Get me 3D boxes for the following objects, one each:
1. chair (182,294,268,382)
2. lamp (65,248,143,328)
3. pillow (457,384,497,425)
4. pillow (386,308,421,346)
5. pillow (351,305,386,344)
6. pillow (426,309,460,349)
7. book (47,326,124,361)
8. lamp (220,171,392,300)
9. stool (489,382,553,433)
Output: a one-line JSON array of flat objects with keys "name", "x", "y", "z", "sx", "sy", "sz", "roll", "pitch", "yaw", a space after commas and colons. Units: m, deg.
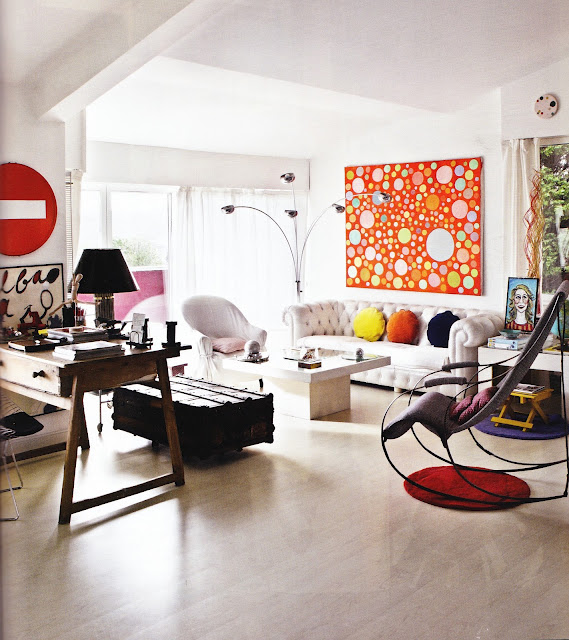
[{"name": "chair", "x": -0.760, "y": 0.154, "z": 5.924, "sx": 0.895, "sy": 1.017, "sz": 0.955, "roll": -4, "pitch": 5, "yaw": -38}, {"name": "lamp", "x": -1.358, "y": -0.262, "z": 3.836, "sx": 0.470, "sy": 0.542, "sz": 0.501, "roll": -2, "pitch": 4, "yaw": -9}, {"name": "pillow", "x": 1.126, "y": 0.504, "z": 3.080, "sx": 0.243, "sy": 0.190, "sz": 0.393, "roll": 1, "pitch": 4, "yaw": 25}, {"name": "pillow", "x": 1.408, "y": 0.127, "z": 5.943, "sx": 0.385, "sy": 0.454, "sz": 0.376, "roll": -9, "pitch": -18, "yaw": 18}, {"name": "pillow", "x": 0.992, "y": 0.054, "z": 6.045, "sx": 0.401, "sy": 0.375, "sz": 0.111, "roll": -12, "pitch": -17, "yaw": 40}, {"name": "pillow", "x": 1.637, "y": 0.095, "z": 5.440, "sx": 0.084, "sy": 0.343, "sz": 0.352, "roll": 20, "pitch": -25, "yaw": -41}, {"name": "book", "x": -1.135, "y": 0.134, "z": 2.957, "sx": 0.269, "sy": 0.076, "sz": 0.260, "roll": -7, "pitch": 11, "yaw": -45}, {"name": "lamp", "x": 0.308, "y": -1.131, "z": 6.779, "sx": 1.017, "sy": 1.792, "sz": 1.828, "roll": -4, "pitch": 5, "yaw": -37}, {"name": "stool", "x": 2.090, "y": 0.657, "z": 4.579, "sx": 0.583, "sy": 0.406, "sz": 0.526, "roll": -10, "pitch": 12, "yaw": -43}]
